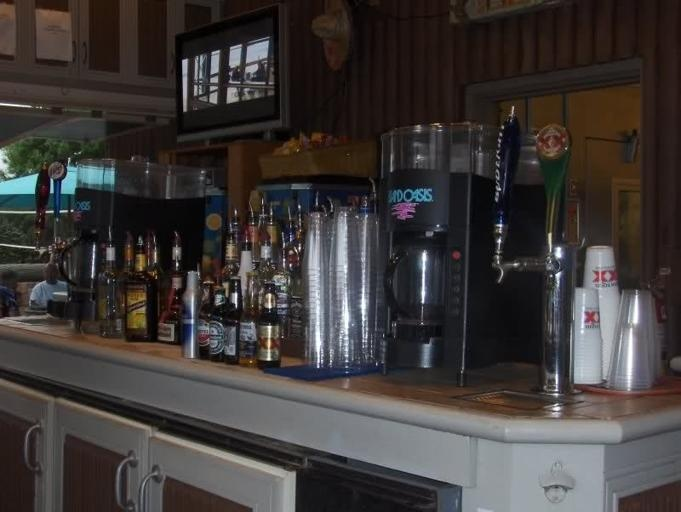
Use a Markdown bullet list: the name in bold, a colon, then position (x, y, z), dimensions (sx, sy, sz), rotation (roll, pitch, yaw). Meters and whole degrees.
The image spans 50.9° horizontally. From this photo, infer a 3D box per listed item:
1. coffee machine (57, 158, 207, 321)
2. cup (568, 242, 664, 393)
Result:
- **coffee machine**: position (-0.732, -0.143, 2.696), dimensions (0.570, 0.670, 0.359), rotation (3, -4, -19)
- **cup**: position (0.649, 0.144, 1.686), dimensions (0.211, 0.334, 0.146), rotation (0, -1, 12)
